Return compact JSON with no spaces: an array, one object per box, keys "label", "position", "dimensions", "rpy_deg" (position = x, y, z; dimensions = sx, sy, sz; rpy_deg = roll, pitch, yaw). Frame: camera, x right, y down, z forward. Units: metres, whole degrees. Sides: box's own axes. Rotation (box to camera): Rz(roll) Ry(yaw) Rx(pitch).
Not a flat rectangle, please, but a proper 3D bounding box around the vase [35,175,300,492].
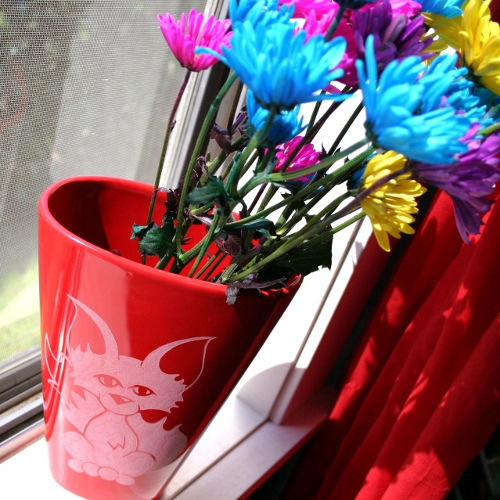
[{"label":"vase","position":[-0.119,0.091,0.455],"dimensions":[0.208,0.288,0.161],"rpy_deg":[36,41,25]}]
